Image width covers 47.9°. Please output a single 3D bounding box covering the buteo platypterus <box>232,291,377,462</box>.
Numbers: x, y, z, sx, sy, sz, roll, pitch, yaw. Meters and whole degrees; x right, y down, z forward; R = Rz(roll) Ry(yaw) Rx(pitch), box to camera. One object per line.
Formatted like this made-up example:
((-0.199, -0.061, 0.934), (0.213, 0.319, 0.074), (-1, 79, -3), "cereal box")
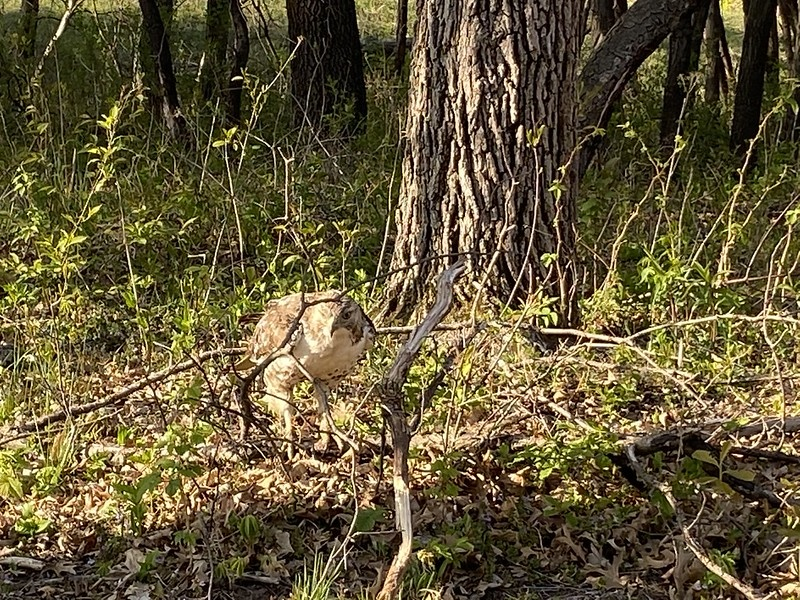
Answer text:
((-0.585, 0.363, 5.287), (0.764, 1.084, 0.597), (14, 24, 33), "buteo platypterus")
